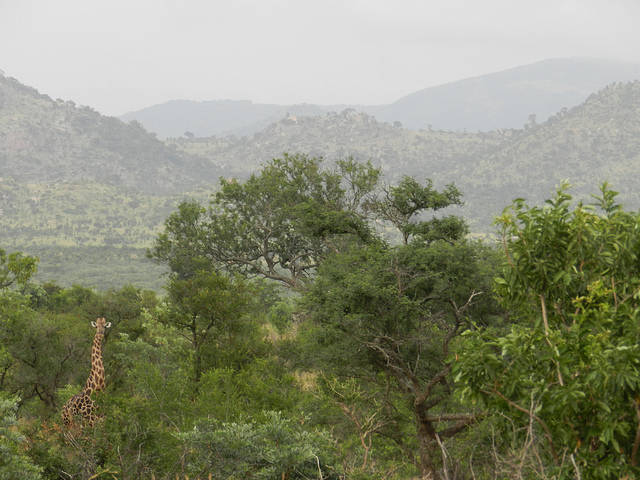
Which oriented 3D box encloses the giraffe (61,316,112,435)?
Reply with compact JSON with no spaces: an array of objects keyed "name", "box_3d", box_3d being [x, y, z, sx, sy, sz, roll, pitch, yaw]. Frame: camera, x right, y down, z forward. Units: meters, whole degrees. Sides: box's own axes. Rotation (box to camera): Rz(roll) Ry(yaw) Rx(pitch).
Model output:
[{"name":"giraffe","box_3d":[-19.412,11.292,64.513,3.593,9.037,3.620,-2,4,-37]}]
